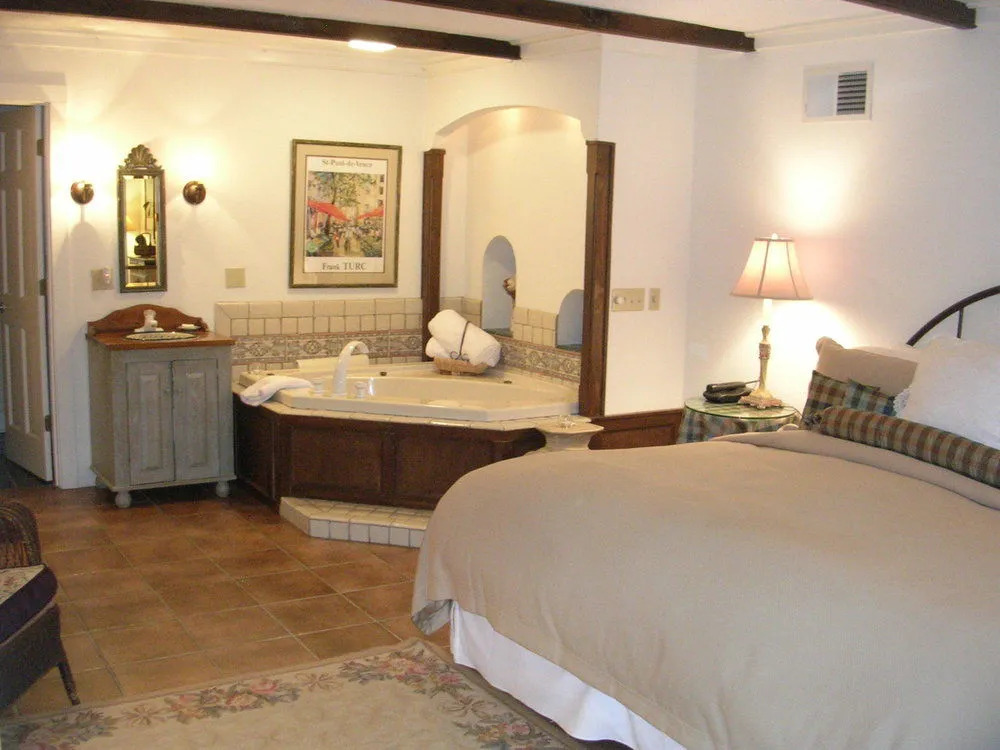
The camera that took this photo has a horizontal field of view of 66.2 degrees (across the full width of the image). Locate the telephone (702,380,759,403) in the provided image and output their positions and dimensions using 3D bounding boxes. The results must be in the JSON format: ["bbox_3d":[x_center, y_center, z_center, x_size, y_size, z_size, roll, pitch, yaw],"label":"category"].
[{"bbox_3d":[1.505,0.118,5.057,0.282,0.084,0.163,-2,1,-36],"label":"telephone"}]

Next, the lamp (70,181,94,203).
[{"bbox_3d":[-3.042,-1.322,5.571,0.152,0.144,0.152,-1,2,-27],"label":"lamp"}]

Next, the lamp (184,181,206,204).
[{"bbox_3d":[-2.367,-1.400,5.922,0.178,0.192,0.106,-2,11,-21],"label":"lamp"}]

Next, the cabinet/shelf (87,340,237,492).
[{"bbox_3d":[-2.633,0.310,5.810,0.964,1.151,0.771,-2,2,-40],"label":"cabinet/shelf"}]

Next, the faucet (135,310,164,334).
[{"bbox_3d":[-2.579,-0.388,5.699,0.227,0.206,0.224,-1,2,-40],"label":"faucet"}]
